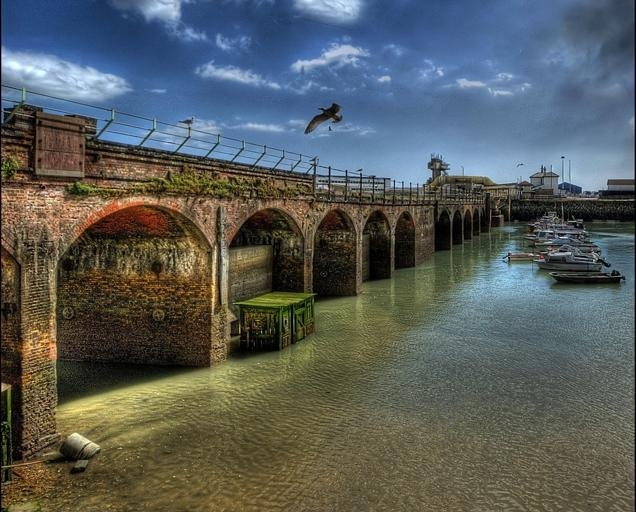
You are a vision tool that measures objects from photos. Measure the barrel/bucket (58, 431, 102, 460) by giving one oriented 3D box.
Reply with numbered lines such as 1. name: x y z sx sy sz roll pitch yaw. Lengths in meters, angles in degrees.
1. barrel/bucket: -5.833 4.653 11.966 0.729 0.635 0.672 10 -15 3
